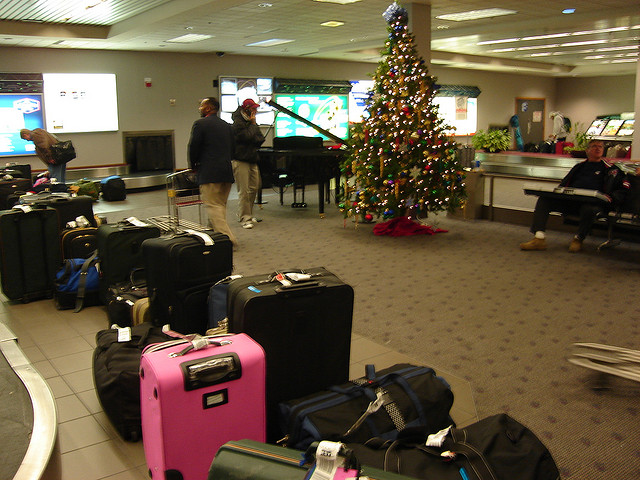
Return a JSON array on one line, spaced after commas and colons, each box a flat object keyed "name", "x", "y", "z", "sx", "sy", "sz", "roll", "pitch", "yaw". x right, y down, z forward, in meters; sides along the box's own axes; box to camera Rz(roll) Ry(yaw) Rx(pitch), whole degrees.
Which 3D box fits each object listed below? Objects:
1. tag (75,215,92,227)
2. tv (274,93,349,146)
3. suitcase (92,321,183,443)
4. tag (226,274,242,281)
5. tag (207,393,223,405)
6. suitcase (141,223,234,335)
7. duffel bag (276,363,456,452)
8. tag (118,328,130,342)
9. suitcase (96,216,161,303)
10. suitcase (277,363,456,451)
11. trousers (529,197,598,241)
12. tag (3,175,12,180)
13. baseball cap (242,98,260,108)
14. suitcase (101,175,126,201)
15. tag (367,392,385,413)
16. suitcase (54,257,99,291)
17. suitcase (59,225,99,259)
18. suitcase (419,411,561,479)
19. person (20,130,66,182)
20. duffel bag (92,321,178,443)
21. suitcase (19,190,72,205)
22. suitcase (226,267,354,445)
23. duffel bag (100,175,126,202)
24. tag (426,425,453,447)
[{"name": "tag", "x": -2.417, "y": -0.198, "z": 4.916, "sx": 0.122, "sy": 0.032, "sz": 0.124, "roll": 43, "pitch": 29, "yaw": 23}, {"name": "tv", "x": -0.210, "y": -3.980, "z": 15.442, "sx": 3.174, "sy": 1.605, "sz": 0.040, "roll": -12, "pitch": 18, "yaw": -39}, {"name": "suitcase", "x": -1.159, "y": 0.775, "z": 2.794, "sx": 0.505, "sy": 0.569, "sz": 0.676, "roll": -2, "pitch": 12, "yaw": -26}, {"name": "tag", "x": -0.518, "y": 0.223, "z": 2.929, "sx": 0.095, "sy": 0.027, "sz": 0.089, "roll": -3, "pitch": 7, "yaw": -25}, {"name": "tag", "x": -0.435, "y": 0.662, "z": 2.003, "sx": 0.044, "sy": 0.041, "sz": 0.043, "roll": -20, "pitch": -6, "yaw": 2}, {"name": "suitcase", "x": -0.909, "y": 0.273, "z": 3.392, "sx": 0.614, "sy": 0.681, "sz": 0.435, "roll": -6, "pitch": 15, "yaw": -18}, {"name": "duffel bag", "x": 0.226, "y": 0.698, "z": 2.040, "sx": 0.747, "sy": 0.245, "sz": 0.355, "roll": -4, "pitch": 7, "yaw": -29}, {"name": "tag", "x": -1.188, "y": 0.573, "z": 2.909, "sx": 0.083, "sy": 0.071, "sz": 0.018, "roll": 1, "pitch": -8, "yaw": -4}, {"name": "suitcase", "x": -1.753, "y": 0.089, "z": 4.269, "sx": 0.586, "sy": 0.761, "sz": 0.601, "roll": -3, "pitch": 13, "yaw": -28}, {"name": "suitcase", "x": 0.176, "y": 0.706, "z": 2.020, "sx": 0.740, "sy": 0.244, "sz": 0.352, "roll": -4, "pitch": 9, "yaw": -29}, {"name": "trousers", "x": 3.129, "y": -0.313, "z": 6.025, "sx": 0.534, "sy": 0.518, "sz": 0.766, "roll": -8, "pitch": 15, "yaw": -41}, {"name": "tag", "x": -4.639, "y": -0.940, "z": 7.149, "sx": 0.089, "sy": 0.046, "sz": 0.116, "roll": -6, "pitch": 13, "yaw": -38}, {"name": "baseball cap", "x": -1.040, "y": -2.060, "z": 7.248, "sx": 0.207, "sy": 0.104, "sz": 0.132, "roll": -13, "pitch": 17, "yaw": -7}, {"name": "suitcase", "x": -4.519, "y": -1.202, "z": 10.590, "sx": 0.522, "sy": 0.597, "sz": 0.709, "roll": -8, "pitch": 16, "yaw": -31}, {"name": "tag", "x": 0.233, "y": 0.671, "z": 1.987, "sx": 0.027, "sy": 0.065, "sz": 0.054, "roll": 22, "pitch": -4, "yaw": 14}, {"name": "suitcase", "x": -2.276, "y": 0.324, "z": 4.474, "sx": 0.497, "sy": 0.408, "sz": 0.283, "roll": 2, "pitch": -1, "yaw": -23}, {"name": "suitcase", "x": -2.348, "y": 0.029, "z": 4.681, "sx": 0.287, "sy": 0.354, "sz": 0.215, "roll": -9, "pitch": 21, "yaw": -36}, {"name": "suitcase", "x": 0.646, "y": 0.741, "z": 1.753, "sx": 0.298, "sy": 0.108, "sz": 0.353, "roll": -9, "pitch": 20, "yaw": -32}, {"name": "person", "x": -5.013, "y": -1.528, "z": 8.775, "sx": 0.581, "sy": 0.965, "sz": 0.582, "roll": -9, "pitch": 16, "yaw": -25}, {"name": "duffel bag", "x": -1.049, "y": 0.827, "z": 2.837, "sx": 0.458, "sy": 0.530, "sz": 0.617, "roll": -2, "pitch": 12, "yaw": -24}, {"name": "suitcase", "x": -2.922, "y": -0.464, "z": 5.132, "sx": 0.429, "sy": 0.128, "sz": 0.388, "roll": -3, "pitch": 18, "yaw": -13}, {"name": "suitcase", "x": -0.154, "y": 0.523, "z": 2.671, "sx": 0.698, "sy": 0.737, "sz": 0.803, "roll": -9, "pitch": 14, "yaw": -34}, {"name": "duffel bag", "x": -4.380, "y": -1.124, "z": 10.469, "sx": 0.628, "sy": 0.574, "sz": 0.500, "roll": -6, "pitch": 13, "yaw": -17}, {"name": "tag", "x": 0.418, "y": 0.700, "z": 1.704, "sx": 0.014, "sy": 0.032, "sz": 0.100, "roll": -33, "pitch": -10, "yaw": 39}]
